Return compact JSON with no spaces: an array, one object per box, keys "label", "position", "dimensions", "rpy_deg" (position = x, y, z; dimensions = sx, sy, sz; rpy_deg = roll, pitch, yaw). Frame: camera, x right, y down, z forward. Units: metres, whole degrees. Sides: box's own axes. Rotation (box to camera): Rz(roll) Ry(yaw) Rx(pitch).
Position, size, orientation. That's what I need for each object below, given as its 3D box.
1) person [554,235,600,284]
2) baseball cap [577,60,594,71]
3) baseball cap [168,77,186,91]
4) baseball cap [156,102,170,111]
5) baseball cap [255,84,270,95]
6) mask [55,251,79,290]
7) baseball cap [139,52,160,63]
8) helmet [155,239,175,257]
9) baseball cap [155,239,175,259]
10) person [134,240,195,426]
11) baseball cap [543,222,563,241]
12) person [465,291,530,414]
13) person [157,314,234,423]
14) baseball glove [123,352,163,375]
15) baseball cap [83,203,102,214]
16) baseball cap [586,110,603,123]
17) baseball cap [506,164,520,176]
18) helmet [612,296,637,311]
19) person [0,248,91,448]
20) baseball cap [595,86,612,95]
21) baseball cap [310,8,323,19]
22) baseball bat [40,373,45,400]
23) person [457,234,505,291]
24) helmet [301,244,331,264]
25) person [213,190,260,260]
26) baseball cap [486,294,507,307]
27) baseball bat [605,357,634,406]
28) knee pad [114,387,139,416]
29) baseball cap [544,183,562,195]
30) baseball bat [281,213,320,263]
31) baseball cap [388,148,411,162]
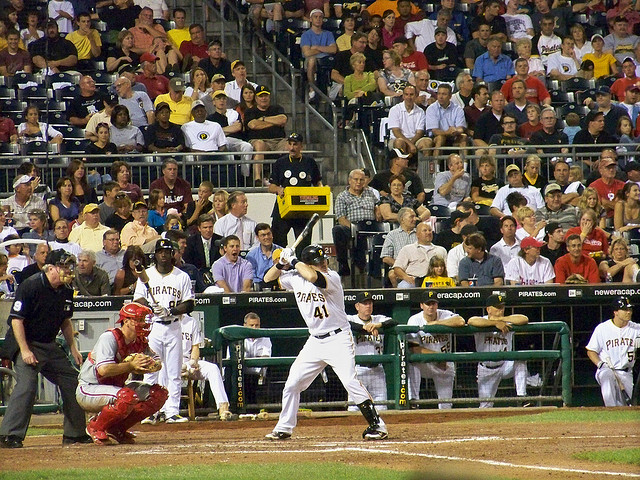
[{"label":"person","position":[4.377,0.453,29.349],"dimensions":[0.665,1.068,0.985],"rpy_deg":[-3,2,2]},{"label":"baseball cap","position":[5.708,-3.736,36.752],"dimensions":[0.279,0.178,0.203],"rpy_deg":[4,8,11]},{"label":"baseball cap","position":[-2.871,-3.043,33.548],"dimensions":[0.222,0.180,0.314],"rpy_deg":[-1,7,-26]},{"label":"baseball cap","position":[-3.056,-2.550,32.807],"dimensions":[0.253,0.224,0.498],"rpy_deg":[0,-4,-6]},{"label":"baseball cap","position":[-1.165,-2.959,33.582],"dimensions":[0.270,0.187,0.456],"rpy_deg":[-2,4,-6]},{"label":"mask","position":[-3.786,0.426,25.551],"dimensions":[0.343,0.452,0.465],"rpy_deg":[-20,29,-39]},{"label":"baseball cap","position":[-3.608,-3.752,35.530],"dimensions":[0.342,0.151,0.234],"rpy_deg":[-6,3,21]},{"label":"helmet","position":[-2.511,0.152,27.265],"dimensions":[0.324,0.260,0.208],"rpy_deg":[1,-4,-16]},{"label":"baseball cap","position":[-2.512,0.168,27.258],"dimensions":[0.322,0.288,0.200],"rpy_deg":[1,-4,-19]},{"label":"person","position":[-2.481,1.498,27.149],"dimensions":[0.867,2.928,0.519],"rpy_deg":[0,-4,-11]},{"label":"baseball cap","position":[4.045,-0.108,29.952],"dimensions":[0.295,0.344,0.241],"rpy_deg":[5,1,25]},{"label":"person","position":[2.967,1.932,28.682],"dimensions":[1.112,2.043,1.058],"rpy_deg":[0,-4,-13]},{"label":"person","position":[-2.143,2.041,27.621],"dimensions":[1.112,2.083,1.284],"rpy_deg":[-10,7,10]},{"label":"baseball glove","position":[-2.645,1.871,25.477],"dimensions":[0.399,0.157,0.333],"rpy_deg":[5,-41,12]},{"label":"baseball cap","position":[-4.088,-0.530,30.141],"dimensions":[0.287,0.165,0.279],"rpy_deg":[0,-4,-2]},{"label":"baseball cap","position":[5.337,-2.395,33.419],"dimensions":[0.308,0.275,0.440],"rpy_deg":[-1,-4,9]},{"label":"baseball cap","position":[3.546,-1.286,31.687],"dimensions":[0.246,0.244,0.568],"rpy_deg":[-1,-4,7]},{"label":"helmet","position":[5.020,1.097,28.588],"dimensions":[0.266,0.148,0.197],"rpy_deg":[-16,-6,27]},{"label":"person","position":[-4.187,1.674,25.690],"dimensions":[1.252,2.988,0.580],"rpy_deg":[0,-4,-10]},{"label":"baseball cap","position":[5.826,-3.092,35.279],"dimensions":[0.251,0.209,0.363],"rpy_deg":[-8,-7,44]},{"label":"baseball cap","position":[-0.131,-4.792,36.163],"dimensions":[0.178,0.246,0.121],"rpy_deg":[-3,11,-10]},{"label":"baseball bat","position":[-4.598,2.488,28.019],"dimensions":[0.067,0.382,0.129],"rpy_deg":[2,-4,-35]},{"label":"person","position":[2.724,0.550,29.309],"dimensions":[0.779,1.189,0.849],"rpy_deg":[0,20,19]},{"label":"helmet","position":[-0.115,0.275,25.614],"dimensions":[0.299,0.178,0.248],"rpy_deg":[-13,3,26]},{"label":"person","position":[-1.496,-0.134,30.595],"dimensions":[0.827,1.516,0.871],"rpy_deg":[1,-7,-11]},{"label":"baseball cap","position":[2.892,1.044,28.481],"dimensions":[0.234,0.146,0.182],"rpy_deg":[-14,-3,29]},{"label":"baseball bat","position":[4.956,2.428,28.528],"dimensions":[0.120,0.829,0.112],"rpy_deg":[-15,-16,-39]},{"label":"knee pad","position":[-2.923,2.473,25.462],"dimensions":[0.348,0.414,0.184],"rpy_deg":[0,-4,-12]},{"label":"baseball cap","position":[4.201,-0.900,31.013],"dimensions":[0.283,0.214,0.362],"rpy_deg":[-1,-4,7]},{"label":"baseball bat","position":[-0.390,-0.010,29.169],"dimensions":[0.128,0.951,0.138],"rpy_deg":[30,-14,38]},{"label":"baseball cap","position":[1.461,-1.626,32.814],"dimensions":[0.331,0.204,0.211],"rpy_deg":[-20,-1,12]}]
